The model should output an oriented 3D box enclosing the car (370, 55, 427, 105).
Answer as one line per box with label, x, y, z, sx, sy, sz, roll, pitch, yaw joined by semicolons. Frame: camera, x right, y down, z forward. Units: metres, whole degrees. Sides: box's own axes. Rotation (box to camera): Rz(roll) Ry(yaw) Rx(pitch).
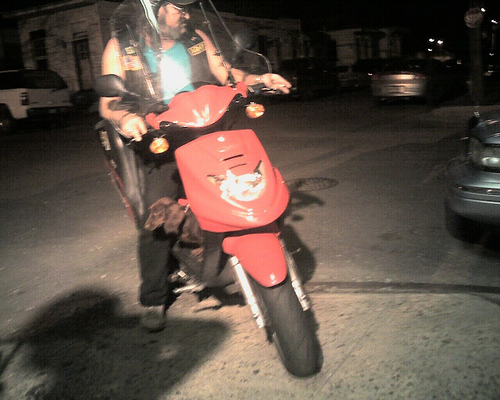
car;5.896;-4.840;17.555;1.520;1.222;2.818;2;27;17
